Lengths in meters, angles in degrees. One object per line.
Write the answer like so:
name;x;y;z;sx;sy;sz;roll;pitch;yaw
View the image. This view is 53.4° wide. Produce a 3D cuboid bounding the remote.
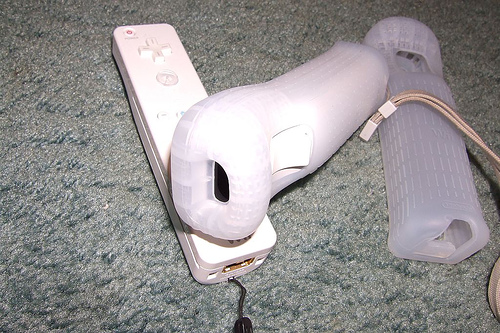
remote;-0.126;-0.082;0.857;0.156;0.122;0.536;-10;64;-25
